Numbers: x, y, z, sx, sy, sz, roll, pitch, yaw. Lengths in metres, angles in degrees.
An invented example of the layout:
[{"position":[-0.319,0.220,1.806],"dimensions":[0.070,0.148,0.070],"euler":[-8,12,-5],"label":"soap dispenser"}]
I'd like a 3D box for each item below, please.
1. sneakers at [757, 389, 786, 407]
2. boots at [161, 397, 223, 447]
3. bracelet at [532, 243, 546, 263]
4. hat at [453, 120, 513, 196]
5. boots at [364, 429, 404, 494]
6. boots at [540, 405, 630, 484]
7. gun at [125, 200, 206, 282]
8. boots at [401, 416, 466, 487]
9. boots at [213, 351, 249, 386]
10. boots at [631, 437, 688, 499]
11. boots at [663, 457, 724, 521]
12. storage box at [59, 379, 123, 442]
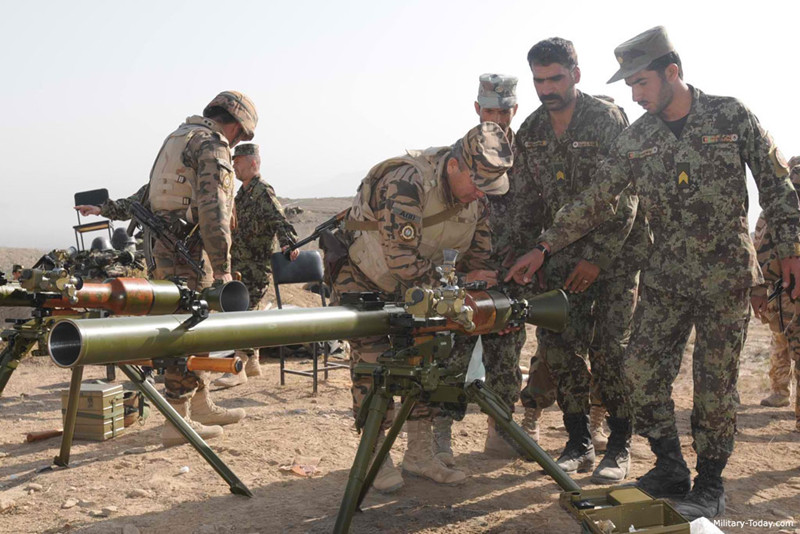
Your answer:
[{"position":[5.049,1.784,9.420],"dimensions":[0.440,0.153,0.163],"euler":[1,-3,-5],"label":"sneakers"},{"position":[-2.323,1.669,7.566],"dimensions":[0.297,0.505,0.816],"euler":[-3,-11,37],"label":"boots"},{"position":[1.358,-0.135,6.706],"dimensions":[0.129,0.145,0.146],"euler":[-15,-41,-11],"label":"bracelet"},{"position":[0.714,-0.973,6.158],"dimensions":[0.509,0.631,0.375],"euler":[0,5,-3],"label":"hat"},{"position":[-0.128,1.815,6.507],"dimensions":[0.290,0.449,0.533],"euler":[1,5,0],"label":"boots"},{"position":[1.924,1.815,7.049],"dimensions":[0.679,0.631,0.733],"euler":[-1,-13,13],"label":"boots"},{"position":[-2.445,-0.301,7.250],"dimensions":[0.242,1.054,0.430],"euler":[-39,-15,-32],"label":"gun"},{"position":[0.391,1.782,6.627],"dimensions":[0.888,0.595,0.336],"euler":[1,-1,30],"label":"boots"},{"position":[-2.513,1.505,10.097],"dimensions":[0.239,0.382,0.603],"euler":[-1,-1,26],"label":"boots"},{"position":[2.408,1.847,6.470],"dimensions":[0.296,0.551,0.628],"euler":[7,-22,-45],"label":"boots"},{"position":[2.619,1.930,6.154],"dimensions":[0.640,0.543,0.288],"euler":[-2,3,-28],"label":"boots"},{"position":[-3.443,1.721,7.977],"dimensions":[0.479,0.389,0.465],"euler":[-15,-7,26],"label":"storage box"}]
